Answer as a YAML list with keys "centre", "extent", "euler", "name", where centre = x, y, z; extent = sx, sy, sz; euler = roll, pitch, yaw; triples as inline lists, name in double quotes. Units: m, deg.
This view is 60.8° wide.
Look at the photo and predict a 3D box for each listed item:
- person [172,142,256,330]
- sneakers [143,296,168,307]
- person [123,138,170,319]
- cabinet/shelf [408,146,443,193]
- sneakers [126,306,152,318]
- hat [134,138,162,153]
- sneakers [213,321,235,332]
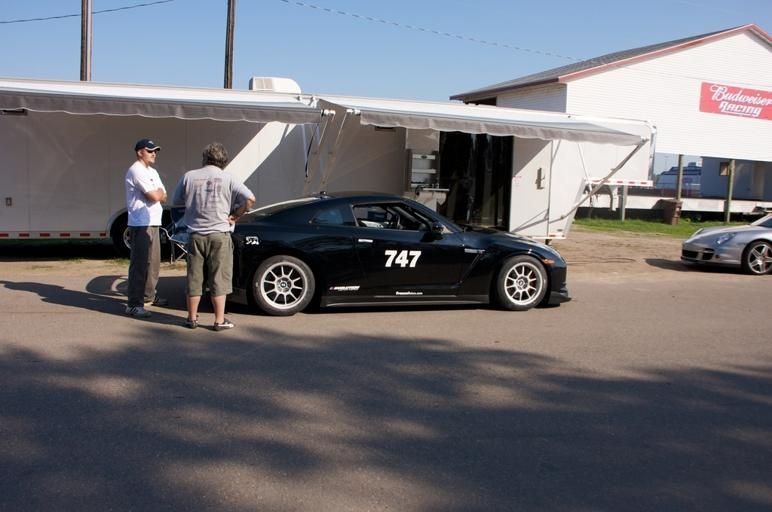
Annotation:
- centre: [-2.187, -0.250, 8.331]
  extent: [0.883, 2.306, 0.618]
  euler: [2, 6, -23]
  name: "person"
- centre: [-3.260, 0.644, 9.390]
  extent: [0.319, 0.136, 0.111]
  euler: [-5, 37, -25]
  name: "sneakers"
- centre: [-3.220, -0.379, 8.856]
  extent: [0.474, 2.305, 0.772]
  euler: [3, 6, -20]
  name: "person"
- centre: [0.838, -1.871, 14.453]
  extent: [0.710, 0.895, 0.353]
  euler: [3, 6, -13]
  name: "cabinet/shelf"
- centre: [-3.221, 0.731, 8.718]
  extent: [0.364, 0.152, 0.135]
  euler: [1, 29, -2]
  name: "sneakers"
- centre: [-3.173, -1.454, 8.863]
  extent: [0.302, 0.164, 0.231]
  euler: [-1, 8, -45]
  name: "hat"
- centre: [-2.015, 0.876, 8.289]
  extent: [0.277, 0.106, 0.098]
  euler: [-10, 18, -24]
  name: "sneakers"
